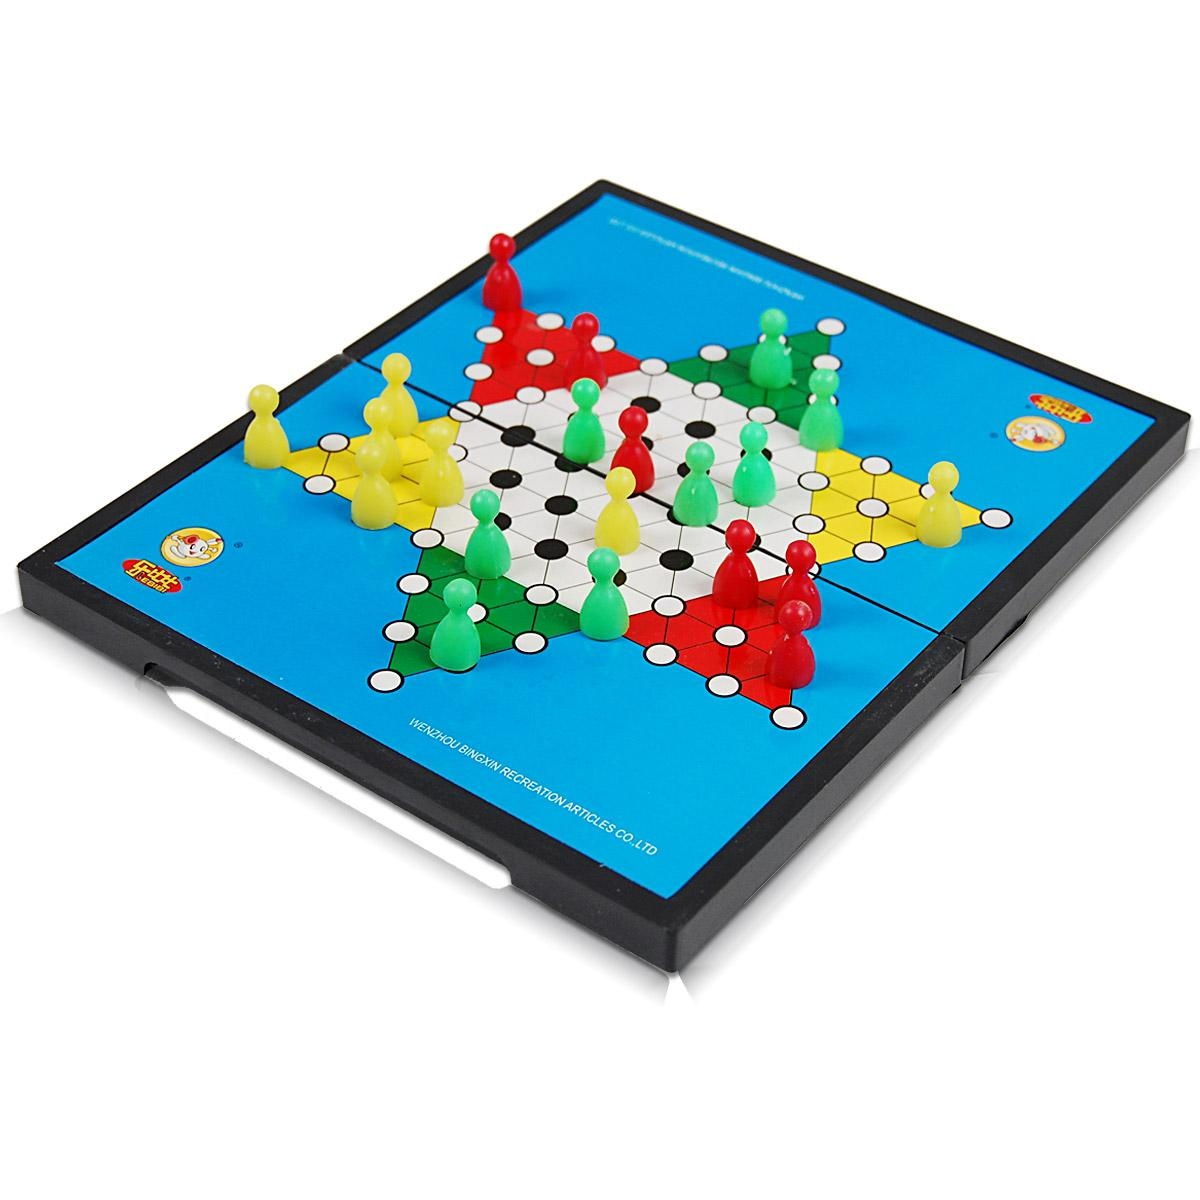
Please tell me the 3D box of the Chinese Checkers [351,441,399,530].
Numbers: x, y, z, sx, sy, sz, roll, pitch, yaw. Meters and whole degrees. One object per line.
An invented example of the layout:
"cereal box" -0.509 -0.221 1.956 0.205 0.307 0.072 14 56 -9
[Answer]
"Chinese Checkers" -0.412 -0.203 2.373 0.125 0.096 0.177 -1 -46 -3
